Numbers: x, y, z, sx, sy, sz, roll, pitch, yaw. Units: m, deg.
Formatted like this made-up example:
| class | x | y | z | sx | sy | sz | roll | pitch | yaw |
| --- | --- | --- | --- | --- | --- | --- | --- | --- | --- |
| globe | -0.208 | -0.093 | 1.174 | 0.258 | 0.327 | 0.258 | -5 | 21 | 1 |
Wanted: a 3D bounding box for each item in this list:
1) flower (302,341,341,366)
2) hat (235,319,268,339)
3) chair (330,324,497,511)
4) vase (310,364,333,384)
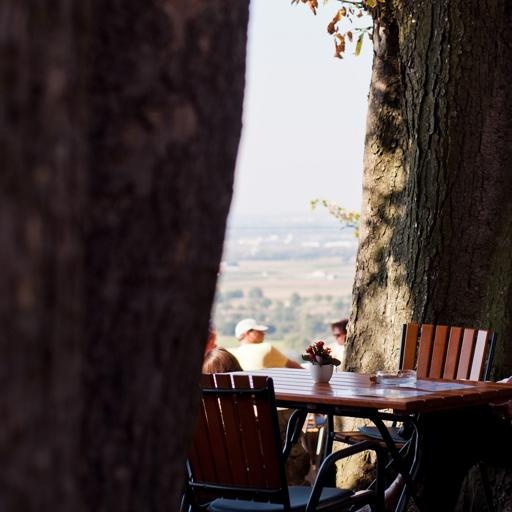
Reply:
| class | x | y | z | sx | sy | sz | roll | pitch | yaw |
| --- | --- | --- | --- | --- | --- | --- | --- | --- | --- |
| flower | 0.266 | 0.400 | 3.730 | 0.079 | 0.088 | 0.127 | 2 | -3 | 17 |
| hat | -0.043 | 0.489 | 6.398 | 0.158 | 0.127 | 0.134 | -14 | 9 | -7 |
| chair | 0.812 | 0.674 | 4.432 | 0.449 | 1.075 | 0.618 | 0 | -11 | 36 |
| vase | 0.261 | 0.466 | 3.697 | 0.061 | 0.069 | 0.073 | -1 | -3 | 20 |
